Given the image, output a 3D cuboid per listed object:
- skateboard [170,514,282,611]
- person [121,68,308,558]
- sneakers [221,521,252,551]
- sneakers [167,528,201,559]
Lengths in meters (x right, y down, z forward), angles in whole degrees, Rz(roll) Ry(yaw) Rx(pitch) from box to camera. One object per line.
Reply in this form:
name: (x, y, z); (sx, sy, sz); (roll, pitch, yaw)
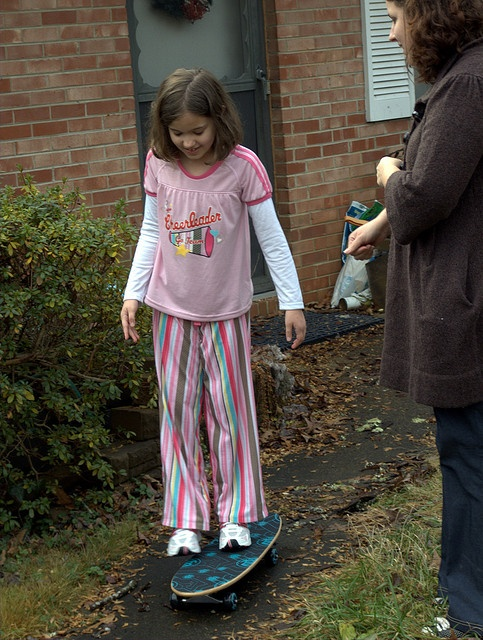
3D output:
skateboard: (-0.036, 0.893, 2.207); (0.175, 0.091, 0.518); (-1, 11, 24)
person: (-0.122, 0.029, 2.292); (0.683, 1.952, 0.460); (-6, 10, -9)
sneakers: (-0.029, 0.828, 2.227); (0.071, 0.062, 0.148); (0, 6, 3)
sneakers: (-0.226, 0.855, 2.225); (0.073, 0.069, 0.162); (-1, -8, 2)
